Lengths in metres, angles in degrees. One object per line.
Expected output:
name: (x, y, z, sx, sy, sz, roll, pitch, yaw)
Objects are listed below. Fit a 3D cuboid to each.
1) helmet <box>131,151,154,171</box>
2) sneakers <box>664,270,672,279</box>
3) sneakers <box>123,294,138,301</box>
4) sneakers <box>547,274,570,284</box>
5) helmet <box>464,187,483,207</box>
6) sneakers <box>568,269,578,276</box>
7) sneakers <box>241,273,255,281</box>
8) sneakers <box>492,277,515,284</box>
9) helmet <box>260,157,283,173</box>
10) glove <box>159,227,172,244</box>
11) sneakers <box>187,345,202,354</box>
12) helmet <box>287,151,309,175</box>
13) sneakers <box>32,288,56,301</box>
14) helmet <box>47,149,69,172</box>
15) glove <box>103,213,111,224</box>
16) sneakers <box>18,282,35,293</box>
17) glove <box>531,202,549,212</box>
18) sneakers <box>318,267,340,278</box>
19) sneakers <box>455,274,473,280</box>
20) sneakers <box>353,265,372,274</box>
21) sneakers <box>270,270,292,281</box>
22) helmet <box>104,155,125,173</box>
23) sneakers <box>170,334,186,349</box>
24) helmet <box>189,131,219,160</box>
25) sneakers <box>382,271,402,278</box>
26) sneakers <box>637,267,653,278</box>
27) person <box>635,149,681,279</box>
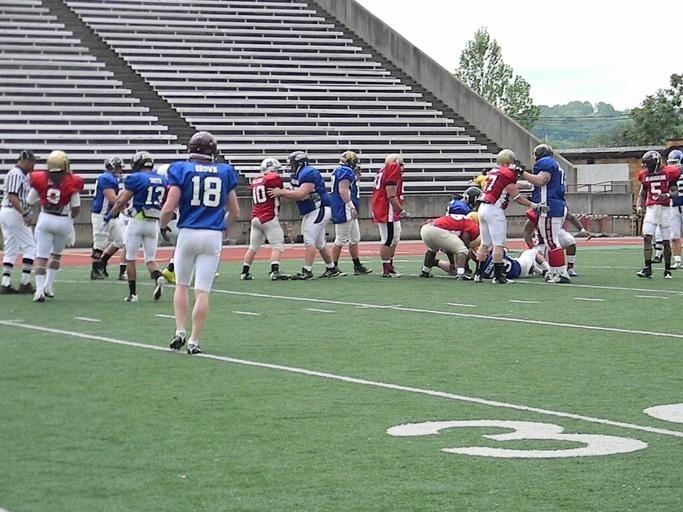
helmet: (-2.584, -1.212, 11.874, 0.300, 0.243, 0.235, 6, 5, 20)
sneakers: (5.203, 0.308, 14.609, 0.128, 0.128, 0.141, 0, -3, 4)
sneakers: (-2.683, 0.538, 11.824, 0.074, 0.077, 0.194, -5, 9, -35)
sneakers: (3.350, 0.356, 13.987, 0.393, 0.140, 0.136, 3, 0, -17)
helmet: (2.186, -0.982, 15.243, 0.258, 0.286, 0.305, 12, -24, -8)
sneakers: (3.787, 0.279, 15.088, 0.118, 0.118, 0.298, -2, -1, -2)
sneakers: (-1.486, 0.344, 14.611, 0.087, 0.091, 0.225, 1, -3, -32)
sneakers: (2.447, 0.395, 13.846, 0.328, 0.124, 0.114, 0, 9, -4)
helmet: (-1.115, -1.423, 14.534, 0.421, 0.312, 0.292, -6, 16, -2)
glove: (-2.313, -0.261, 12.172, 0.103, 0.302, 0.142, -14, 10, 2)
sneakers: (-1.304, 0.840, 8.266, 0.143, 0.086, 0.126, 1, -1, -23)
helmet: (-0.718, -1.463, 14.603, 0.379, 0.335, 0.298, -1, 7, 11)
sneakers: (-3.834, 0.504, 11.858, 0.164, 0.110, 0.343, -6, -3, 2)
helmet: (-3.694, -1.233, 11.987, 0.256, 0.255, 0.313, 18, 30, 19)
glove: (-3.517, -0.551, 13.897, 0.166, 0.071, 0.205, -3, -8, -15)
sneakers: (-4.326, 0.449, 12.746, 0.232, 0.130, 0.122, -10, 16, -39)
glove: (2.982, -0.710, 13.725, 0.139, 0.084, 0.176, -4, 9, -44)
sneakers: (-0.157, 0.278, 15.089, 0.397, 0.162, 0.137, -2, 1, -14)
sneakers: (1.993, 0.350, 14.537, 0.340, 0.127, 0.109, -1, 8, -13)
sneakers: (0.351, 0.244, 15.539, 0.338, 0.134, 0.117, 0, 5, 13)
sneakers: (-0.919, 0.314, 14.559, 0.383, 0.157, 0.118, -1, 13, 0)
helmet: (-3.539, -1.417, 14.419, 0.288, 0.231, 0.217, -9, 22, -22)
sneakers: (-1.459, 0.772, 8.300, 0.175, 0.069, 0.105, -14, -14, 30)
helmet: (-1.286, -1.016, 8.436, 0.238, 0.251, 0.299, 7, 23, 12)
sneakers: (0.832, 0.310, 14.943, 0.307, 0.124, 0.097, 1, 7, 1)
sneakers: (4.839, 0.261, 14.815, 0.147, 0.202, 0.411, 2, 1, -18)
person: (5.148, -0.674, 14.951, 0.641, 2.086, 1.189, 0, -2, 18)
